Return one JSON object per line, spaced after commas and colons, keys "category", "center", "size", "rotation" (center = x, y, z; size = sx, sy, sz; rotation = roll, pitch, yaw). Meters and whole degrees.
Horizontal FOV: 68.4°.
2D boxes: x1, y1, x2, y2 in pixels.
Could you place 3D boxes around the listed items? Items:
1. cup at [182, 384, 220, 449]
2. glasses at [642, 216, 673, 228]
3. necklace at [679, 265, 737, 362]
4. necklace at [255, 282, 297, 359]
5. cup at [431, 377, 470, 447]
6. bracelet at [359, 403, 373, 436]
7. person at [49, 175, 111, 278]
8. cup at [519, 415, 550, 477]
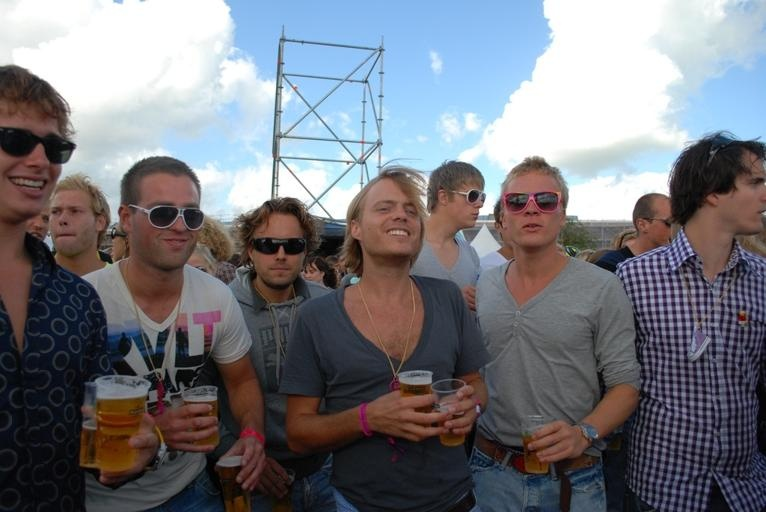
{"category": "cup", "center": [-1.173, 1.047, 3.669], "size": [0.205, 0.409, 0.262], "rotation": [-4, 0, -21]}
{"category": "glasses", "center": [3.024, -0.378, 6.224], "size": [0.223, 0.068, 0.221], "rotation": [11, 0, 34]}
{"category": "necklace", "center": [2.235, 0.452, 4.036], "size": [0.263, 0.779, 0.087], "rotation": [9, -14, 0]}
{"category": "necklace", "center": [-0.838, 0.540, 4.671], "size": [0.393, 0.524, 0.178], "rotation": [-3, -6, -12]}
{"category": "cup", "center": [0.402, 1.022, 3.568], "size": [0.271, 0.425, 0.156], "rotation": [-4, 0, -39]}
{"category": "bracelet", "center": [-0.115, 1.011, 3.469], "size": [0.044, 0.159, 0.147], "rotation": [-11, -1, 1]}
{"category": "person", "center": [-3.165, -0.303, 5.772], "size": [0.610, 1.073, 0.625], "rotation": [-4, -6, 16]}
{"category": "cup", "center": [1.003, 1.275, 3.743], "size": [0.149, 0.387, 0.267], "rotation": [-4, 0, 13]}
